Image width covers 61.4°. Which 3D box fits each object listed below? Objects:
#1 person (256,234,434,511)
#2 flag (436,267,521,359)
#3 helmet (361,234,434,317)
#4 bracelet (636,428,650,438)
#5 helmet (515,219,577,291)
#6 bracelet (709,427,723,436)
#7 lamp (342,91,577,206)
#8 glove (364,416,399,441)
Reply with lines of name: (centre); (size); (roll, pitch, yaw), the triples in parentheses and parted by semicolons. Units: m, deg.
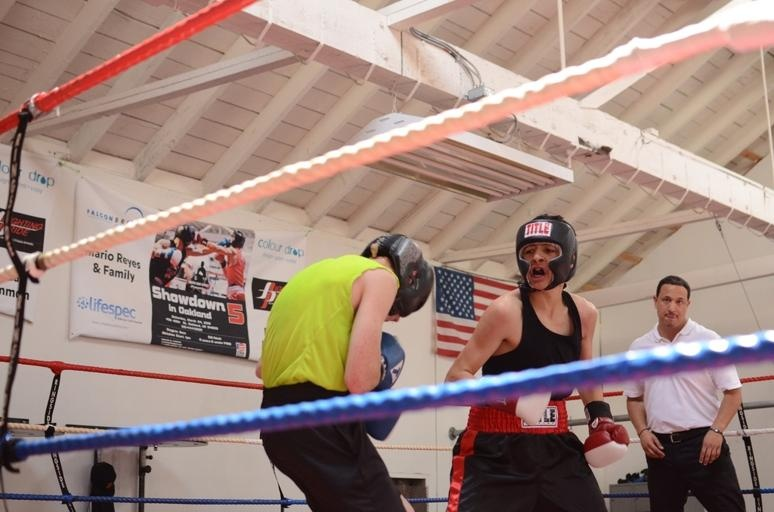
person: (-0.124, 0.350, 2.139); (0.522, 0.917, 0.448); (12, -21, -30)
flag: (0.683, 0.464, 5.546); (1.203, 0.807, 0.056); (1, -6, -36)
helmet: (0.081, 0.057, 2.319); (0.220, 0.298, 0.264); (18, -17, 3)
bracelet: (1.336, 0.908, 3.382); (0.062, 0.024, 0.045); (-24, -12, 3)
helmet: (0.649, 0.022, 2.689); (0.229, 0.287, 0.294); (-7, -35, 26)
bracelet: (1.611, 0.859, 3.192); (0.040, 0.017, 0.044); (21, 16, -33)
lamp: (0.631, -0.644, 4.801); (1.398, 0.179, 0.672); (12, -20, -31)
glove: (-0.019, 0.535, 2.110); (0.131, 0.111, 0.114); (-1, -12, -1)
